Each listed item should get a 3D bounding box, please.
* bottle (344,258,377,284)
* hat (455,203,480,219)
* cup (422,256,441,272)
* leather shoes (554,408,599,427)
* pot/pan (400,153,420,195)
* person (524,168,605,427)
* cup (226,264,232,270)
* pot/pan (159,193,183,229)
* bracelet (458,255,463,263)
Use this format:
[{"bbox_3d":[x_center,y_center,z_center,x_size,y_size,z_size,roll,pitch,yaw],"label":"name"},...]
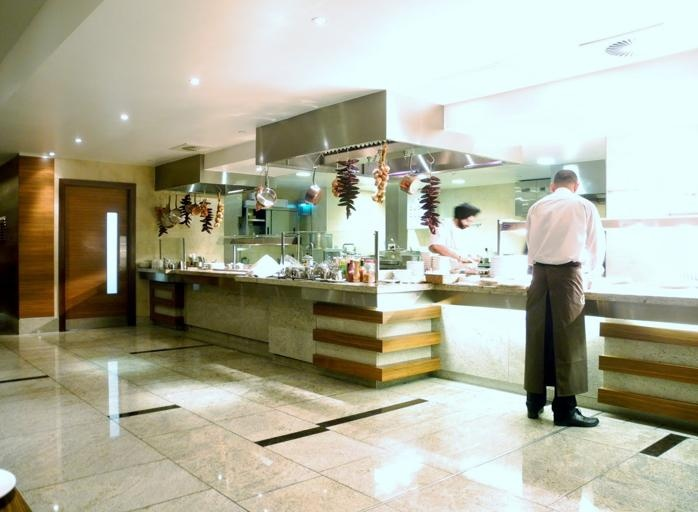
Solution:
[{"bbox_3d":[0.144,0.162,5.500,0.300,0.256,0.287,-1,5,-24],"label":"bottle"},{"bbox_3d":[1.513,-0.576,6.628,0.276,0.204,0.215,-20,-11,37],"label":"hat"},{"bbox_3d":[0.995,0.089,6.269,0.203,0.197,0.191,0,1,0],"label":"cup"},{"bbox_3d":[1.885,1.343,4.226,0.307,0.113,0.161,-1,-2,3],"label":"leather shoes"},{"bbox_3d":[0.728,-1.001,6.036,0.269,0.439,0.463,14,18,-2],"label":"pot/pan"},{"bbox_3d":[1.837,0.333,4.360,0.615,2.131,0.504,1,3,19],"label":"person"},{"bbox_3d":[-2.017,0.179,8.559,0.090,0.097,0.248,0,-5,-17],"label":"cup"},{"bbox_3d":[-3.259,-0.853,9.418,0.467,0.567,0.176,-9,-13,21],"label":"pot/pan"},{"bbox_3d":[1.467,0.037,6.719,0.068,0.070,0.134,0,3,9],"label":"bracelet"}]
